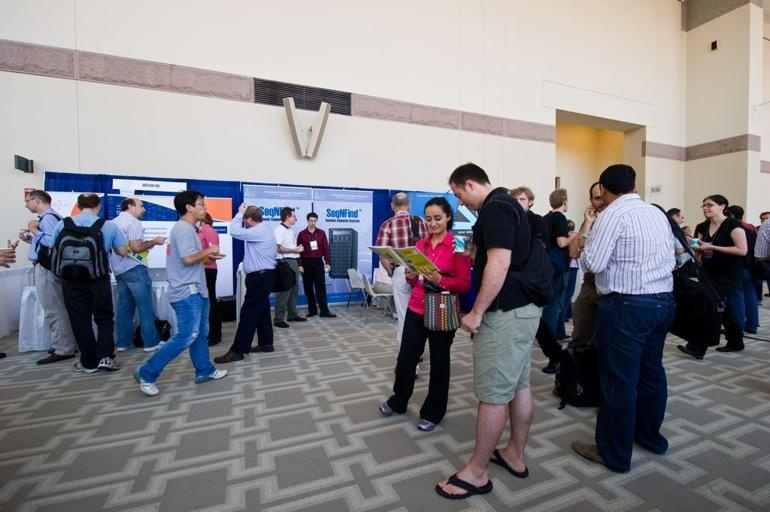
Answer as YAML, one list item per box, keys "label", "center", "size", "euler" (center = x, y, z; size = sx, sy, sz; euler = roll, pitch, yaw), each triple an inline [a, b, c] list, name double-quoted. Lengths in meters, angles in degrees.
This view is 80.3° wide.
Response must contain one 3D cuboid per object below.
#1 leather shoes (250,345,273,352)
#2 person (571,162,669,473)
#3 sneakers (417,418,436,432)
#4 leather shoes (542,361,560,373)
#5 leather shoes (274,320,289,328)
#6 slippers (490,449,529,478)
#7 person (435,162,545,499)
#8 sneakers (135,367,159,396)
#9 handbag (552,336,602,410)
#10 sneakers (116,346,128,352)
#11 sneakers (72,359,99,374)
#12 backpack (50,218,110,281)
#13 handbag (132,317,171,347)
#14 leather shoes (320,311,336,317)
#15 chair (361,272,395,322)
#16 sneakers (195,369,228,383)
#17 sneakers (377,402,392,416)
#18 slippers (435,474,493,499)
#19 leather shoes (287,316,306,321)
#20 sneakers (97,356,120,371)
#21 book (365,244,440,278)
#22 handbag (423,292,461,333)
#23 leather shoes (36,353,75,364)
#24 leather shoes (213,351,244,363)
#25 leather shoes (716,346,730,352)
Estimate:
- label: "leather shoes"
  center: [-1.764, 1.353, 6.580]
  size: [0.339, 0.129, 0.121]
  euler: [4, -3, -2]
- label: "person"
  center: [2.304, 0.592, 4.347]
  size: [0.881, 2.912, 0.572]
  euler: [1, 8, 17]
- label: "sneakers"
  center: [0.419, 1.799, 4.729]
  size: [0.165, 0.102, 0.069]
  euler: [3, -17, 6]
- label: "leather shoes"
  center: [2.117, 1.473, 5.870]
  size: [0.230, 0.085, 0.106]
  euler: [-1, -4, -17]
- label: "leather shoes"
  center: [-1.773, 1.191, 7.804]
  size: [0.214, 0.077, 0.118]
  euler: [1, 0, 27]
- label: "slippers"
  center: [1.139, 2.015, 4.365]
  size: [0.167, 0.125, 0.424]
  euler: [-1, 16, -36]
- label: "person"
  center: [1.005, 0.674, 4.144]
  size: [0.928, 3.022, 0.610]
  euler: [0, 7, 6]
- label: "sneakers"
  center: [-2.770, 1.493, 5.317]
  size: [0.151, 0.351, 0.139]
  euler: [-44, -8, 13]
- label: "handbag"
  center: [2.060, 1.376, 5.409]
  size: [0.736, 0.862, 0.649]
  euler: [0, -4, 14]
- label: "sneakers"
  center: [-3.785, 1.381, 6.569]
  size: [0.148, 0.062, 0.057]
  euler: [1, -1, -12]
- label: "sneakers"
  center: [-3.865, 1.466, 5.916]
  size: [0.302, 0.114, 0.148]
  euler: [5, -1, 16]
- label: "backpack"
  center: [-3.853, -0.085, 5.771]
  size: [0.649, 0.788, 0.432]
  euler: [4, 19, -18]
- label: "handbag"
  center: [-3.521, 1.152, 6.768]
  size: [0.256, 0.499, 0.744]
  euler: [2, 5, 5]
- label: "leather shoes"
  center: [-1.053, 1.108, 8.452]
  size: [0.315, 0.127, 0.108]
  euler: [-3, 0, -1]
- label: "chair"
  center: [-0.039, 0.762, 8.276]
  size: [0.568, 0.735, 0.526]
  euler: [-5, -3, 24]
- label: "sneakers"
  center: [-2.140, 1.527, 5.667]
  size: [0.374, 0.149, 0.142]
  euler: [-8, 9, -35]
- label: "sneakers"
  center: [-0.009, 1.700, 4.959]
  size: [0.073, 0.092, 0.161]
  euler: [-34, -31, -5]
- label: "slippers"
  center: [0.710, 2.136, 4.156]
  size: [0.421, 0.122, 0.215]
  euler: [3, -2, -7]
- label: "leather shoes"
  center: [-1.587, 1.170, 8.208]
  size: [0.340, 0.135, 0.111]
  euler: [0, -5, -8]
- label: "sneakers"
  center: [-3.550, 1.422, 5.883]
  size: [0.130, 0.125, 0.269]
  euler: [0, -1, -1]
- label: "book"
  center: [0.199, 0.046, 4.551]
  size: [0.635, 0.291, 0.343]
  euler: [2, 8, 19]
- label: "handbag"
  center: [0.586, 0.572, 4.557]
  size: [0.376, 0.377, 0.369]
  euler: [-2, 5, 8]
- label: "leather shoes"
  center: [-4.485, 1.433, 6.239]
  size: [0.397, 0.122, 0.126]
  euler: [5, -8, -38]
- label: "leather shoes"
  center: [-2.124, 1.413, 6.245]
  size: [0.404, 0.151, 0.140]
  euler: [3, -7, -23]
- label: "leather shoes"
  center: [4.777, 1.355, 6.471]
  size: [0.134, 0.050, 0.074]
  euler: [2, -5, 11]
